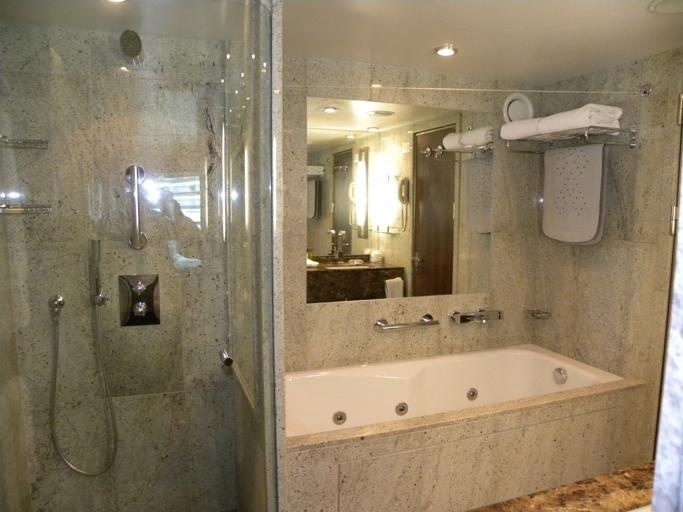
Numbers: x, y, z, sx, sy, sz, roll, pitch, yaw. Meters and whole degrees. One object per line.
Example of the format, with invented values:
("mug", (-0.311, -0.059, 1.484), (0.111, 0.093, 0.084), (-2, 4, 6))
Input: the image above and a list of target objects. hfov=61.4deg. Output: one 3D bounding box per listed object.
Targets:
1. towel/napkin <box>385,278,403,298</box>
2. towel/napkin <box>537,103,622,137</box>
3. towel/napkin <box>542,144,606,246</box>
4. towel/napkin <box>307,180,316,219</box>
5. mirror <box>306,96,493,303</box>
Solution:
("towel/napkin", (0.343, 0.205, 3.844), (0.115, 0.144, 0.025), (-3, 12, -20))
("towel/napkin", (1.431, -0.840, 3.480), (0.471, 0.144, 0.197), (1, 6, 23))
("towel/napkin", (1.528, -0.416, 3.854), (0.149, 0.637, 0.497), (-4, 6, -21))
("towel/napkin", (-0.193, -0.365, 3.566), (0.043, 0.209, 0.174), (-1, 1, -10))
("mirror", (0.332, -0.415, 3.787), (1.252, 1.469, 0.067), (-1, 7, -17))
